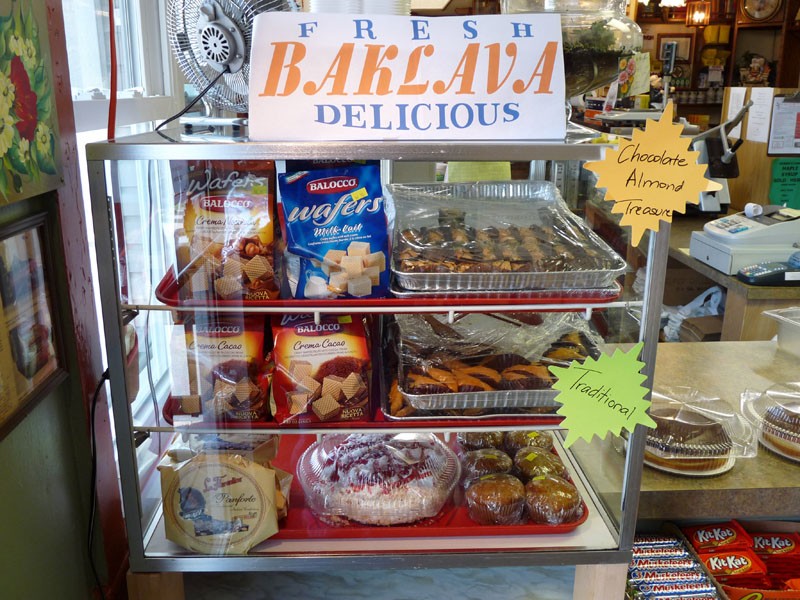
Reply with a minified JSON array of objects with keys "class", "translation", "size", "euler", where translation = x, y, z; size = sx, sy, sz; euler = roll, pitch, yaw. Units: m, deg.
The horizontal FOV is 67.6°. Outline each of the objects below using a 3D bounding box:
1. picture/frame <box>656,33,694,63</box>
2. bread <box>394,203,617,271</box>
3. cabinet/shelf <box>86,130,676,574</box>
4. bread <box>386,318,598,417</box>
[{"class":"picture/frame","translation":[3.384,-3.129,7.375],"size":[0.448,0.339,0.169],"euler":[-10,21,-19]},{"class":"bread","translation":[0.244,-0.145,1.404],"size":[0.503,0.119,0.202],"euler":[-2,19,0]},{"class":"cabinet/shelf","translation":[-0.048,0.105,1.390],"size":[1.365,1.007,0.432],"euler":[0,15,-2]},{"class":"bread","translation":[0.213,0.164,1.464],"size":[0.406,0.090,0.260],"euler":[0,37,-1]}]
